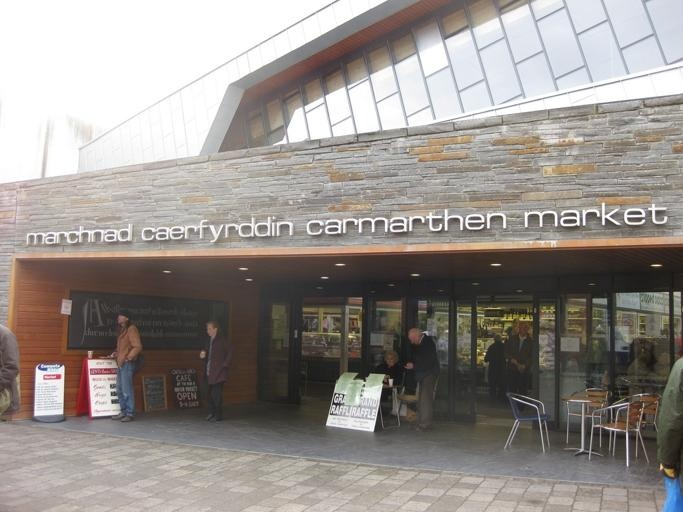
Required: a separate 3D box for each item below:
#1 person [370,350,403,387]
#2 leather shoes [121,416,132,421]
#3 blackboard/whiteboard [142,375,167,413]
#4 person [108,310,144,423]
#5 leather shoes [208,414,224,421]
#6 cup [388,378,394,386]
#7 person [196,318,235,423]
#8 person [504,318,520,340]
[{"bbox_3d":[1.185,2.511,11.451,0.777,0.985,0.626,-3,-13,26],"label":"person"},{"bbox_3d":[-4.378,3.329,10.519,0.092,0.062,0.179,-8,-16,44],"label":"leather shoes"},{"bbox_3d":[-4.372,3.247,12.010,0.084,0.937,0.833,-24,-19,29],"label":"blackboard/whiteboard"},{"bbox_3d":[-4.450,2.273,10.724,0.569,2.233,0.307,0,-8,15],"label":"person"},{"bbox_3d":[-2.662,3.436,10.926,0.236,0.091,0.279,2,-9,-8],"label":"leather shoes"},{"bbox_3d":[1.033,2.637,10.703,0.120,0.140,0.127,1,-6,0],"label":"cup"},{"bbox_3d":[-2.678,2.470,11.097,0.516,2.053,0.726,4,-8,-14],"label":"person"},{"bbox_3d":[5.124,2.209,15.512,0.513,0.738,0.837,0,6,14],"label":"person"}]
